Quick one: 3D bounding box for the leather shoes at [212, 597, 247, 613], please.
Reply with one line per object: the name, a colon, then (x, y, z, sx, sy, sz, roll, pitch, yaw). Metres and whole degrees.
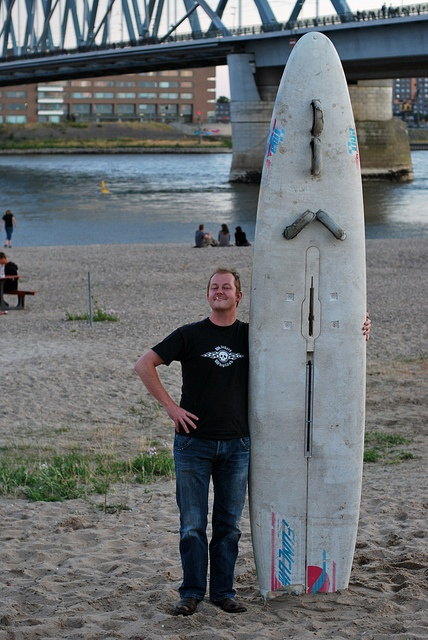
leather shoes: (0.093, 1.598, 7.590, 0.175, 0.058, 0.068, -1, 3, 44)

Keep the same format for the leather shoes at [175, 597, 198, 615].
leather shoes: (-0.157, 1.602, 7.550, 0.090, 0.074, 0.178, 1, 0, 28)
